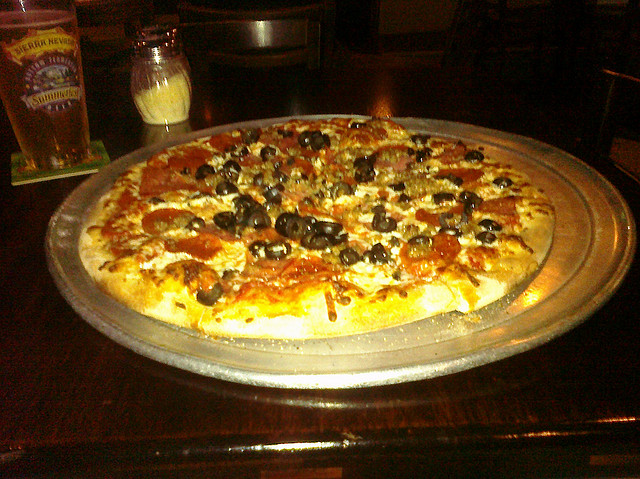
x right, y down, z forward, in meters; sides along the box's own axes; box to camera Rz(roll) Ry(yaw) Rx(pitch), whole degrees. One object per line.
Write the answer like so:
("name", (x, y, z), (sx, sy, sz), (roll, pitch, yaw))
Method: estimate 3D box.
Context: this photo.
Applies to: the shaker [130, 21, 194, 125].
("shaker", (-0.821, -0.896, 2.879), (0.378, 0.498, 0.333), (23, 33, 33))
